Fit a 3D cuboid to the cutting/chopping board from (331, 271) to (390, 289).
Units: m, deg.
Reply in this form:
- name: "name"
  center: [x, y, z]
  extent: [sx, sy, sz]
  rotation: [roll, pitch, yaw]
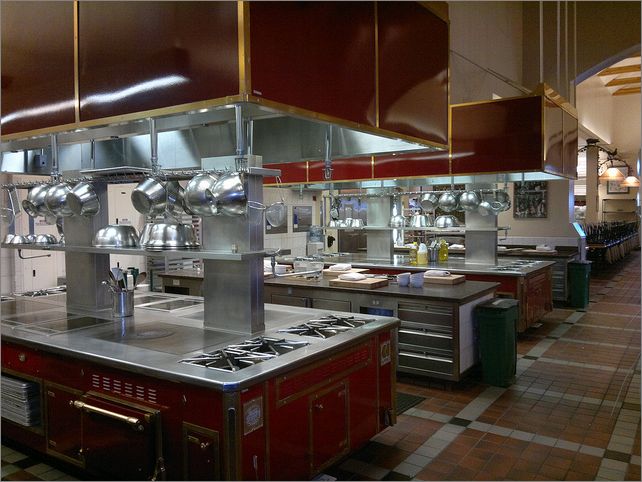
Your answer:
- name: "cutting/chopping board"
  center: [0.445, 0.465, 6.332]
  extent: [0.729, 0.133, 0.595]
  rotation: [1, 7, 11]

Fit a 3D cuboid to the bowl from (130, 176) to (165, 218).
- name: "bowl"
  center: [-1.109, -0.282, 3.370]
  extent: [0.219, 0.232, 0.177]
  rotation: [5, 12, 17]

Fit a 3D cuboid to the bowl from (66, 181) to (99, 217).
- name: "bowl"
  center: [-1.689, -0.287, 3.785]
  extent: [0.232, 0.232, 0.177]
  rotation: [13, 29, 23]

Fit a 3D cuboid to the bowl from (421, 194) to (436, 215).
- name: "bowl"
  center: [1.386, -0.477, 6.644]
  extent: [0.204, 0.244, 0.321]
  rotation: [-1, 7, -8]

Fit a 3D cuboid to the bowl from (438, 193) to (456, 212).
- name: "bowl"
  center: [1.557, -0.471, 6.396]
  extent: [0.221, 0.238, 0.252]
  rotation: [1, 7, 13]

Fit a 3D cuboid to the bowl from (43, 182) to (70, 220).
- name: "bowl"
  center: [-1.892, -0.291, 3.800]
  extent: [0.272, 0.248, 0.148]
  rotation: [3, 8, 28]

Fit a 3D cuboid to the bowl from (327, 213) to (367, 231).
- name: "bowl"
  center: [0.362, -0.245, 7.764]
  extent: [0.517, 0.161, 0.321]
  rotation: [1, 7, 10]

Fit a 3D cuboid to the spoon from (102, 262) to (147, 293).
- name: "spoon"
  center: [-1.803, 0.337, 4.632]
  extent: [0.291, 0.110, 0.244]
  rotation: [-4, -2, 42]

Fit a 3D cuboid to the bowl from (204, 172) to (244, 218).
- name: "bowl"
  center: [-0.584, -0.281, 3.185]
  extent: [0.248, 0.263, 0.101]
  rotation: [0, 7, 0]

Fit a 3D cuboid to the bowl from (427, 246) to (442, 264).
- name: "bowl"
  center: [1.783, 0.224, 8.252]
  extent: [0.230, 0.243, 0.224]
  rotation: [-1, 6, 0]

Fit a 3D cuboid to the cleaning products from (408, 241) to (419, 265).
- name: "cleaning products"
  center: [1.454, 0.221, 8.136]
  extent: [0.122, 0.240, 0.332]
  rotation: [1, 7, 11]

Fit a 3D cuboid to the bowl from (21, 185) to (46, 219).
- name: "bowl"
  center: [-2.129, -0.300, 3.894]
  extent: [0.343, 0.233, 0.111]
  rotation: [6, 10, 42]

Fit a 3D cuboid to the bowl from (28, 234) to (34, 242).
- name: "bowl"
  center: [-2.532, -0.016, 4.561]
  extent: [0.051, 0.064, 0.096]
  rotation: [-5, 9, -34]

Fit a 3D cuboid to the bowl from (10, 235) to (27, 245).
- name: "bowl"
  center: [-2.630, -0.002, 4.532]
  extent: [0.100, 0.049, 0.099]
  rotation: [0, -2, 0]

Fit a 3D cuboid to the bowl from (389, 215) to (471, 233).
- name: "bowl"
  center: [1.397, -0.252, 7.150]
  extent: [0.969, 0.224, 0.454]
  rotation: [3, 8, 28]

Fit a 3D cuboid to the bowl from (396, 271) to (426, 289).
- name: "bowl"
  center: [1.054, 0.458, 6.232]
  extent: [0.313, 0.158, 0.303]
  rotation: [0, 7, 0]
